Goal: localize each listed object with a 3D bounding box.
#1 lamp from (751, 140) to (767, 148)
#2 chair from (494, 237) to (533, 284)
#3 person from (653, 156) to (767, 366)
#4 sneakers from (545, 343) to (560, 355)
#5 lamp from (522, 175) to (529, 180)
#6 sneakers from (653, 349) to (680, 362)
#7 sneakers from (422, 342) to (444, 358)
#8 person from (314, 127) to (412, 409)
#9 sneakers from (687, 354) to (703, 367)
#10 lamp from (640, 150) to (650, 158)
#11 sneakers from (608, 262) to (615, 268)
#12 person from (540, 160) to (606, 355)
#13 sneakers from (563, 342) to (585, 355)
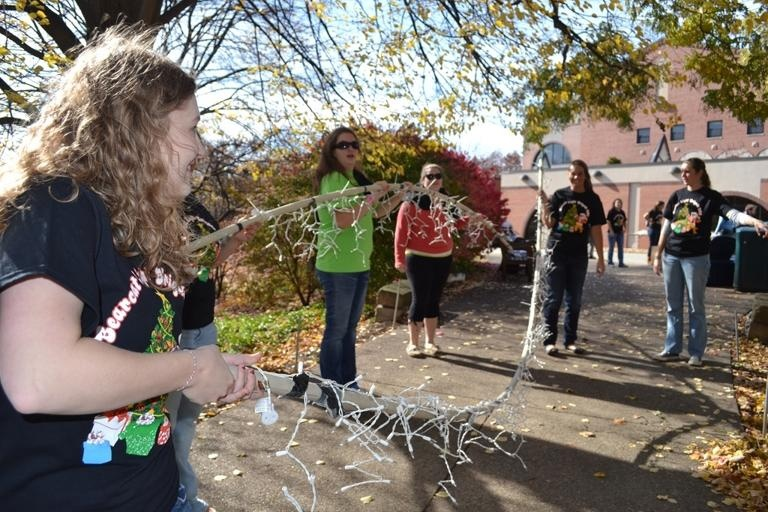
[{"bbox_3d":[20.951,-6.324,32.964,0.114,0.377,0.531,-6,12,-31],"label":"lamp"},{"bbox_3d":[3.535,0.060,15.559,1.059,1.193,1.024,-2,-3,1],"label":"chair"},{"bbox_3d":[3.622,0.062,6.905,0.764,2.409,1.182,0,11,-3],"label":"person"},{"bbox_3d":[2.069,1.162,7.239,0.088,0.105,0.235,-5,-13,-6],"label":"sneakers"},{"bbox_3d":[8.061,-4.533,33.385,0.478,0.343,0.186,8,13,34],"label":"lamp"},{"bbox_3d":[3.418,1.190,7.008,0.336,0.139,0.122,3,-2,0],"label":"sneakers"},{"bbox_3d":[0.595,1.141,7.156,0.243,0.100,0.122,1,0,42],"label":"sneakers"},{"bbox_3d":[-0.315,0.108,5.364,0.628,2.562,0.879,0,11,-4],"label":"person"},{"bbox_3d":[3.621,1.225,6.815,0.088,0.094,0.240,-4,-12,21],"label":"sneakers"},{"bbox_3d":[16.319,-6.511,36.863,0.355,0.348,0.266,2,6,25],"label":"lamp"},{"bbox_3d":[7.132,0.273,18.299,0.150,0.188,0.447,-3,-6,6],"label":"sneakers"},{"bbox_3d":[2.321,0.032,7.286,0.680,2.419,1.252,5,12,21],"label":"person"},{"bbox_3d":[2.394,1.176,7.370,0.100,0.106,0.267,-5,-2,-22],"label":"sneakers"}]
